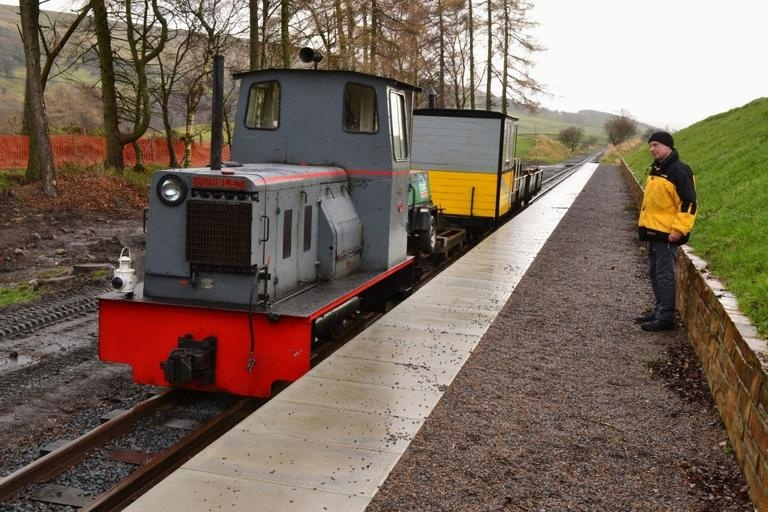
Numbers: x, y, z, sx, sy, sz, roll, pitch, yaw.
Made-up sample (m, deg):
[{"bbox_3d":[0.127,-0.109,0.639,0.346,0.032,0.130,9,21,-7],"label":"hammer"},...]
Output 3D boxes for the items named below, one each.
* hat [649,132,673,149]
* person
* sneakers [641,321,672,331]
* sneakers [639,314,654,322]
[{"bbox_3d":[4.507,-1.859,9.125,0.776,0.274,0.289,-11,14,-39],"label":"hat"},{"bbox_3d":[4.516,-0.360,9.162,0.826,3.230,0.498,8,14,43],"label":"person"},{"bbox_3d":[4.502,1.139,9.446,0.474,0.203,0.179,3,7,10],"label":"sneakers"},{"bbox_3d":[4.492,1.059,9.826,0.283,0.121,0.105,3,7,21],"label":"sneakers"}]
